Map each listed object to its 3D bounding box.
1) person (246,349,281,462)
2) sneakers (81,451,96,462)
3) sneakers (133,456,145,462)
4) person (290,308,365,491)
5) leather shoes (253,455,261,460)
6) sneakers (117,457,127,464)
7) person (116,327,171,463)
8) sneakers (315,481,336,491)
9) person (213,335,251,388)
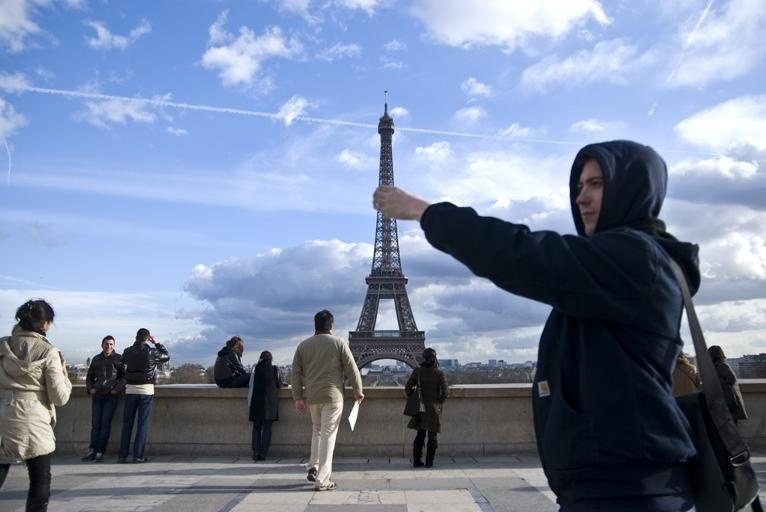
[{"bbox_3d":[-2.204,2.733,12.336,0.559,1.943,0.669,-1,-4,5],"label":"person"},{"bbox_3d":[-5.390,3.644,12.239,0.123,0.145,0.376,17,-18,-37],"label":"sneakers"},{"bbox_3d":[-4.335,3.624,11.978,0.218,0.088,0.072,0,-4,-30],"label":"sneakers"},{"bbox_3d":[-0.860,2.125,10.232,0.945,2.561,1.293,1,-4,-18],"label":"person"},{"bbox_3d":[-2.280,3.656,12.147,0.155,0.127,0.080,0,-5,4],"label":"leather shoes"},{"bbox_3d":[-4.624,3.612,11.867,0.069,0.076,0.196,1,-5,-5],"label":"sneakers"},{"bbox_3d":[-4.375,2.508,12.177,0.708,2.346,0.589,1,-4,-20],"label":"person"},{"bbox_3d":[-0.809,3.273,9.579,0.313,0.133,0.112,0,-2,-13],"label":"sneakers"},{"bbox_3d":[-2.967,2.094,13.378,1.017,0.994,0.991,5,-6,-20],"label":"person"}]
